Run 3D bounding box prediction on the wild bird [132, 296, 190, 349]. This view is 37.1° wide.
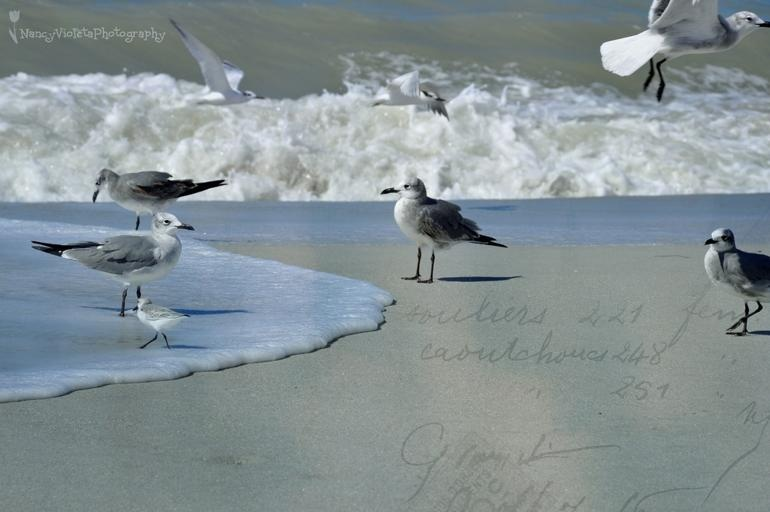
[{"bbox_3d":[-2.467,0.739,12.838,0.794,0.498,0.360,-2,-1,40],"label":"wild bird"}]

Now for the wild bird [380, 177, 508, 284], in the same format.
[{"bbox_3d":[0.759,-0.362,15.692,2.120,1.286,0.816,-1,4,-38],"label":"wild bird"}]

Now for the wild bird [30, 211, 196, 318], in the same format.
[{"bbox_3d":[-3.153,0.049,13.793,2.284,1.074,0.649,1,11,21],"label":"wild bird"}]
